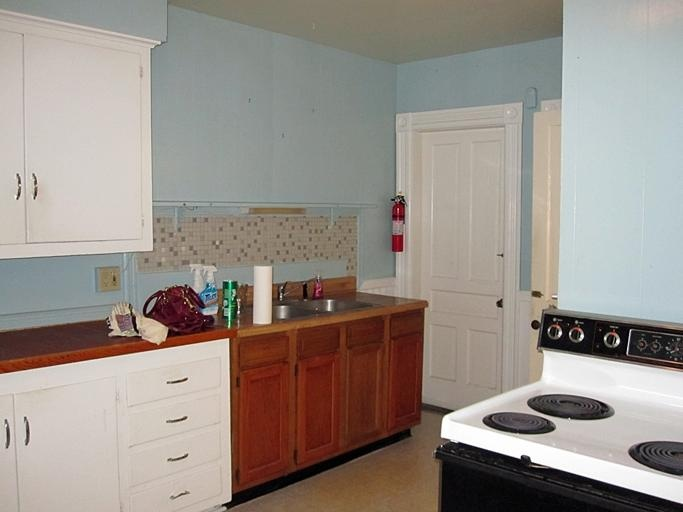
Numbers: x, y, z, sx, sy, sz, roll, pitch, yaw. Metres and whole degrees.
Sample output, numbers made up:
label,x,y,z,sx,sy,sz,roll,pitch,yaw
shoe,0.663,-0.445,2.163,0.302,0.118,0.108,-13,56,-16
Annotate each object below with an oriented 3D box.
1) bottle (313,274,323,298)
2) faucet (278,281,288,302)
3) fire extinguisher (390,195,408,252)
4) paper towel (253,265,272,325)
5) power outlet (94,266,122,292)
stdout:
label,x,y,z,sx,sy,sz,roll,pitch,yaw
bottle,-0.188,0.237,3.970,0.068,0.171,0.099,-4,13,-1
faucet,-0.440,0.257,3.848,0.075,0.153,0.222,-5,13,-5
fire extinguisher,0.507,-0.277,4.613,0.138,0.532,0.239,-1,13,10
paper towel,-0.475,0.236,3.071,0.124,0.328,0.160,-4,13,-4
power outlet,-1.403,0.139,3.077,0.052,0.159,0.155,-1,0,41
